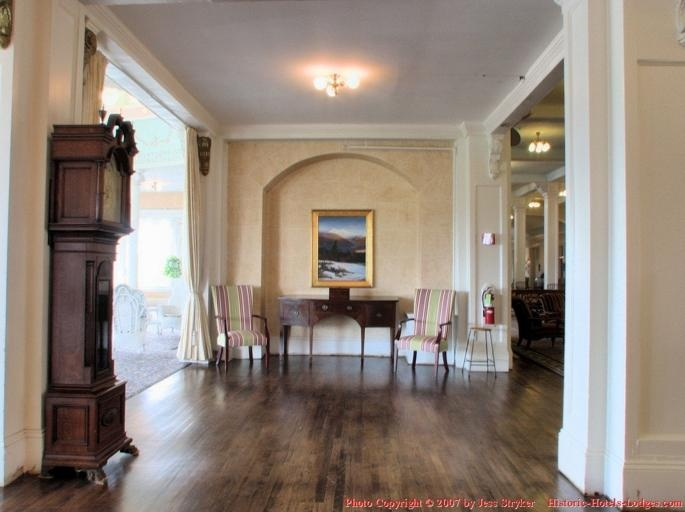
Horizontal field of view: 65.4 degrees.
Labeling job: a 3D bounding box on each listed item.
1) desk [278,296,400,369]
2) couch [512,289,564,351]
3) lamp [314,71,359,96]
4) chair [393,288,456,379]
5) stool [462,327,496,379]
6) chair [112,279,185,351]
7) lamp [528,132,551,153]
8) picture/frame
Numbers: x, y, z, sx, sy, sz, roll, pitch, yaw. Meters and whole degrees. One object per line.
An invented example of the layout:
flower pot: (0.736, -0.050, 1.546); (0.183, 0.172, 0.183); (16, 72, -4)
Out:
desk: (-0.067, 1.055, 8.061); (1.750, 1.094, 0.598); (-2, -2, 5)
couch: (3.941, 1.214, 10.626); (0.829, 0.979, 3.095); (-2, -3, 22)
lamp: (-0.046, -2.060, 6.343); (0.313, 0.227, 0.321); (6, 11, 33)
chair: (1.169, 1.058, 7.611); (0.889, 1.171, 1.248); (-2, -3, 12)
stool: (1.984, 1.362, 7.742); (0.544, 0.946, 0.598); (0, -11, 3)
chair: (-3.204, 1.033, 9.071); (1.260, 1.400, 0.965); (0, 2, -22)
lamp: (3.597, -2.055, 9.790); (0.346, 0.380, 0.363); (-2, 7, -4)
picture/frame: (0.034, -0.085, 8.469); (1.146, 1.462, 0.075); (0, -1, 5)
